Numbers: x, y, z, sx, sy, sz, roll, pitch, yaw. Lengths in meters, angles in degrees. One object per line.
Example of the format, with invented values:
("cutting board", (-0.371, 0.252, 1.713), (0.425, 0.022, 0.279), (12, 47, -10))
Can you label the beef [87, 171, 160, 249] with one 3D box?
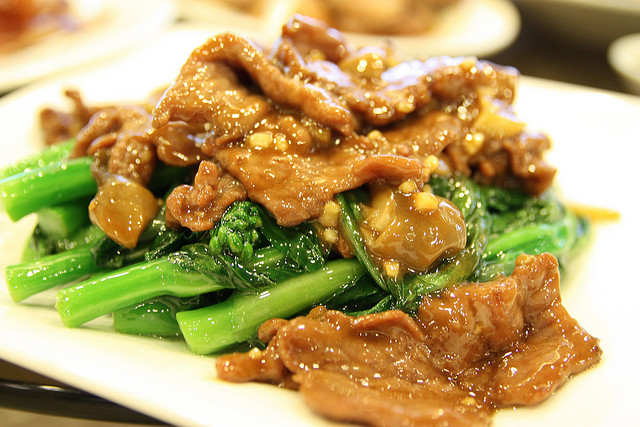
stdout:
("beef", (-1.228, -0.025, 3.649), (0.419, 0.109, 0.466), (27, 60, -11))

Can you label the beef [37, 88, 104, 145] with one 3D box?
("beef", (-1.894, -0.670, 4.331), (0.426, 0.134, 0.454), (-10, 54, 22))

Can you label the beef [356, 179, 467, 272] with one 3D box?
("beef", (0.538, 0.066, 3.484), (0.641, 0.326, 0.426), (14, 65, 11))

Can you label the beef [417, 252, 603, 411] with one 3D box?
("beef", (1.028, 0.762, 3.343), (0.878, 0.405, 0.823), (-15, 44, -19))

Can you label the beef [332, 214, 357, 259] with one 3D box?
("beef", (0.143, 0.143, 3.557), (0.167, 0.058, 0.233), (-10, 93, 16))

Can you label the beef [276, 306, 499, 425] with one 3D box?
("beef", (0.334, 0.873, 3.276), (1.209, 0.192, 0.637), (6, 64, 7))

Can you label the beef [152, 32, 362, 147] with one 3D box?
("beef", (-0.366, -0.701, 3.541), (1.013, 0.279, 0.735), (16, 66, 11))
